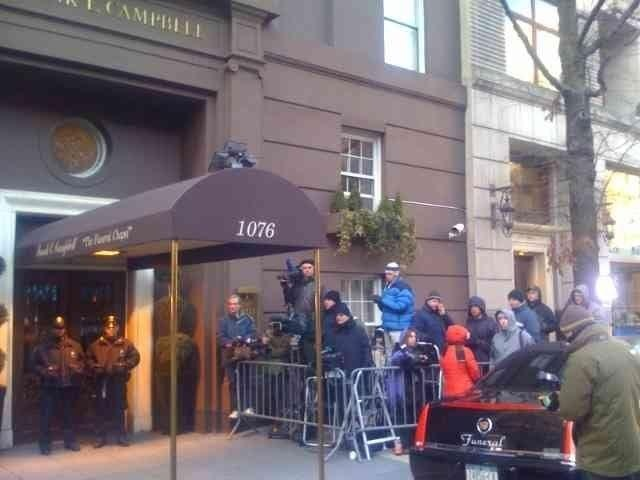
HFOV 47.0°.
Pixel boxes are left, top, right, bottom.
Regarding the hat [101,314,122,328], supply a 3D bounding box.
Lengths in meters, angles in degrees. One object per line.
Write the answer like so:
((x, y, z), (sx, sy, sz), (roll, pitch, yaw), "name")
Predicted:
((-3.477, 1.332, 12.091), (0.302, 0.129, 0.282), (-13, -15, 40), "hat")

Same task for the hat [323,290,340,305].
((0.178, 0.982, 12.403), (0.197, 0.250, 0.255), (-13, -26, 36), "hat")

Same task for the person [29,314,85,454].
((-4.244, 2.349, 11.897), (0.764, 2.128, 0.505), (2, -8, -23), "person")

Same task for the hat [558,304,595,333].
((3.101, 0.919, 8.944), (0.291, 0.349, 0.382), (-15, 11, -35), "hat")

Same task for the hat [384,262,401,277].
((1.383, 0.562, 13.769), (0.315, 0.329, 0.249), (7, -10, -19), "hat")

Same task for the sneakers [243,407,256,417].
((-1.217, 2.922, 12.542), (0.154, 0.076, 0.227), (2, 1, -7), "sneakers")

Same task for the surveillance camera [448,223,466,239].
((3.076, -0.209, 16.557), (0.258, 0.199, 0.356), (-20, 5, 38), "surveillance camera")

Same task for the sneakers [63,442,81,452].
((-4.023, 3.341, 11.887), (0.316, 0.243, 0.106), (-12, -18, 32), "sneakers")

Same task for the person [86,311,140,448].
((-3.388, 2.304, 11.990), (0.762, 2.067, 0.423), (1, -8, -18), "person")

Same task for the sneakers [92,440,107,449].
((-3.563, 3.285, 11.847), (0.111, 0.128, 0.194), (-6, -22, 29), "sneakers")

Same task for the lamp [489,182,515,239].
((4.322, -0.720, 17.139), (0.620, 1.158, 0.464), (5, -10, -40), "lamp")
